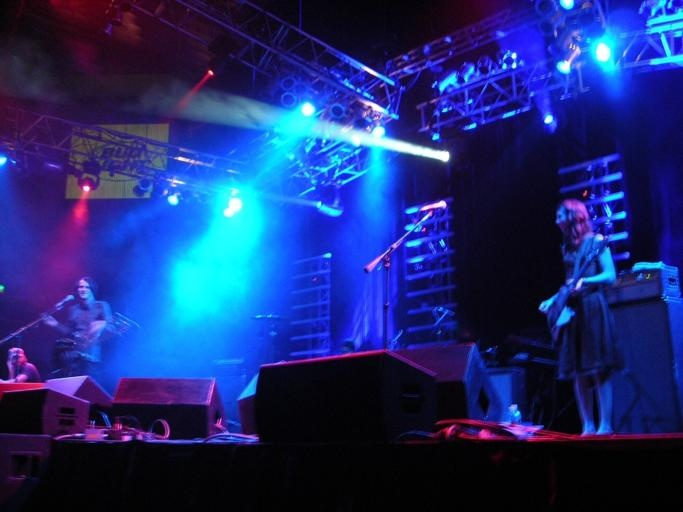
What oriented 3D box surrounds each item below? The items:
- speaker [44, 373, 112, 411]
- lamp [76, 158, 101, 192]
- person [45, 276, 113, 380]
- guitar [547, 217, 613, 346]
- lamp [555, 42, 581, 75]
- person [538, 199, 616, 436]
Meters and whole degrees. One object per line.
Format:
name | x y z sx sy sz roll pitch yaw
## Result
speaker | -1.971 1.008 5.060 0.315 0.163 0.321 -8 -32 30
lamp | -3.673 -1.166 9.642 0.304 0.367 0.761 13 -23 -22
person | -3.821 1.027 9.528 0.686 1.584 1.656 17 -25 -31
guitar | 1.845 0.202 5.279 0.132 0.927 0.394 9 23 -18
lamp | 2.451 -2.082 7.095 0.234 0.240 0.285 21 -27 -38
person | 1.934 0.464 5.321 0.401 1.946 0.637 13 -23 -23
